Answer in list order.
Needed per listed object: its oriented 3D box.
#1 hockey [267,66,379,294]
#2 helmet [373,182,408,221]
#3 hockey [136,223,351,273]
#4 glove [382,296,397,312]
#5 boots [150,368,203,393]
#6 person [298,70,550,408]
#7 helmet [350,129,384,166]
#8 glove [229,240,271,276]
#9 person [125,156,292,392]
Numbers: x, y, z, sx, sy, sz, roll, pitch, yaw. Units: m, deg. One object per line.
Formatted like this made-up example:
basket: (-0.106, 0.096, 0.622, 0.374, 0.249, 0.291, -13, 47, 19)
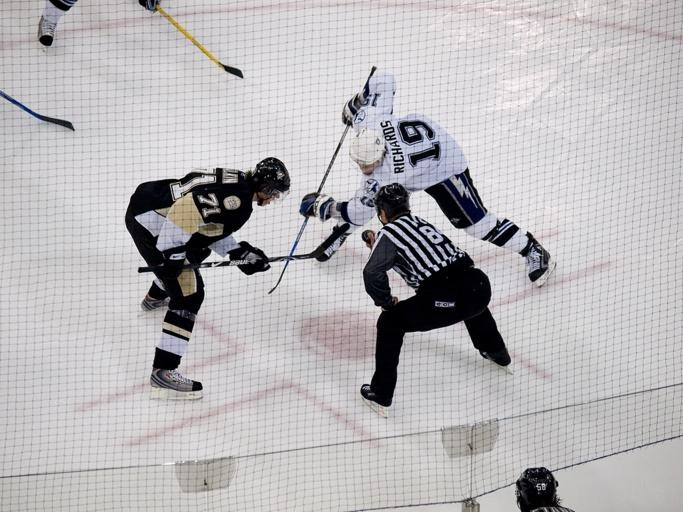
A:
hockey: (-0.137, -0.448, 7.203, 0.296, 0.077, 1.859, 8, 61, 47)
helmet: (0.300, -0.336, 6.379, 0.208, 0.221, 0.236, -8, 22, -17)
hockey: (-0.674, -0.021, 6.740, 1.467, 0.142, 0.169, -7, 95, -21)
glove: (0.282, 0.294, 6.379, 0.098, 0.090, 0.028, -16, 74, 4)
boots: (-1.053, 0.756, 6.542, 0.388, 0.160, 0.116, 4, 23, -13)
person: (0.508, -0.224, 6.835, 1.429, 1.000, 1.898, -18, 67, -13)
helmet: (0.172, -0.693, 6.601, 0.210, 0.156, 0.244, 13, 64, 2)
glove: (-0.608, 0.026, 6.716, 0.262, 0.089, 0.178, 35, 67, 4)
person: (-0.850, 0.185, 6.667, 0.889, 1.175, 1.019, 5, 43, -23)
